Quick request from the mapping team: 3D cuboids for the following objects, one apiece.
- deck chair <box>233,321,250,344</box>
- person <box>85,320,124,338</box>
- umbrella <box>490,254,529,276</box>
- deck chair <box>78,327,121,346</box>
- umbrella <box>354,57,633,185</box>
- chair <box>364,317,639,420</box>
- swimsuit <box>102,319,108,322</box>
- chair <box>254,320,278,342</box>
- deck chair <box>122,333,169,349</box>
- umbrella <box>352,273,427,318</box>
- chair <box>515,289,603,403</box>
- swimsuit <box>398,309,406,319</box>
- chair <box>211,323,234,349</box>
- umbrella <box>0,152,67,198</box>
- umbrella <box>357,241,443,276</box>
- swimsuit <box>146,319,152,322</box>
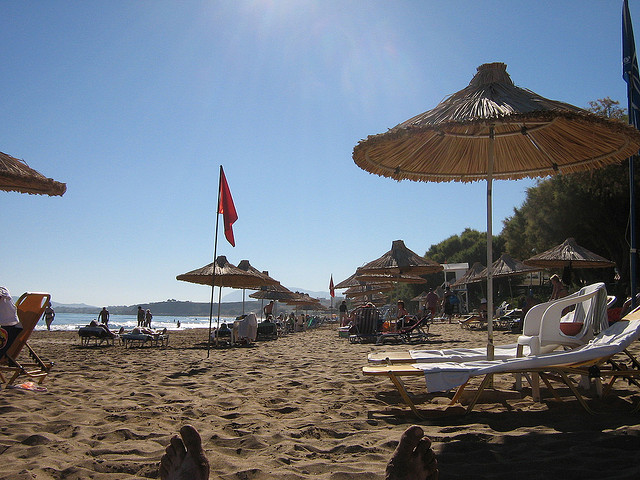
[{"bbox_3d":[-2.332,2.716,15.248,0.340,0.655,0.857,-4,-8,21],"label":"deck chair"},{"bbox_3d":[-6.519,2.672,15.739,0.882,0.364,0.893,5,-7,24],"label":"person"},{"bbox_3d":[7.356,0.936,20.144,1.170,0.804,1.603,-4,-8,19],"label":"umbrella"},{"bbox_3d":[-6.502,2.714,15.059,0.796,0.318,0.804,1,-9,9],"label":"deck chair"},{"bbox_3d":[2.223,-1.485,6.780,3.040,1.480,2.424,1,-8,-19],"label":"umbrella"},{"bbox_3d":[1.736,1.354,6.017,3.530,1.340,1.170,0,-11,-2],"label":"chair"},{"bbox_3d":[-8.638,3.248,20.898,0.129,0.103,0.438,4,-9,-33],"label":"swimsuit"},{"bbox_3d":[-1.920,3.338,18.983,0.877,1.155,0.830,1,-17,-2],"label":"chair"},{"bbox_3d":[-5.086,2.926,15.076,0.761,0.233,0.774,-4,-7,44],"label":"deck chair"},{"bbox_3d":[2.380,2.042,19.004,1.371,1.308,1.494,4,-7,-14],"label":"umbrella"},{"bbox_3d":[2.945,1.179,6.325,1.009,1.315,1.039,2,-5,-43],"label":"chair"},{"bbox_3d":[2.500,2.230,15.673,0.070,0.304,0.307,-14,-11,11],"label":"swimsuit"},{"bbox_3d":[-2.865,2.768,15.314,0.630,0.621,2.103,0,-8,-12],"label":"chair"},{"bbox_3d":[-3.605,-0.834,6.551,0.694,0.478,0.539,4,-9,-33],"label":"umbrella"},{"bbox_3d":[2.672,0.548,17.599,2.436,1.210,1.378,0,-8,-15],"label":"umbrella"},{"bbox_3d":[-11.245,5.320,34.289,0.225,0.182,5.345,1,-8,-16],"label":"swimsuit"}]
